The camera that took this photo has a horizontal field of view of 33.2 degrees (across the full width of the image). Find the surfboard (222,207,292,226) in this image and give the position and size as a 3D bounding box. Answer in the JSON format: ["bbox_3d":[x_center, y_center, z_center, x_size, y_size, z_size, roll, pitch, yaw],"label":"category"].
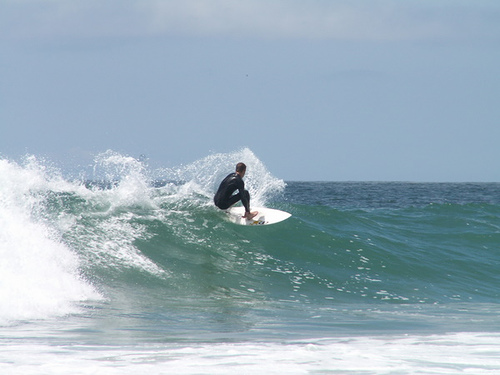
[{"bbox_3d":[0.256,0.764,22.167,1.437,0.357,2.093,2,-1,13],"label":"surfboard"}]

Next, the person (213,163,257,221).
[{"bbox_3d":[-0.261,0.013,20.948,1.361,1.174,1.171,6,20,4],"label":"person"}]
